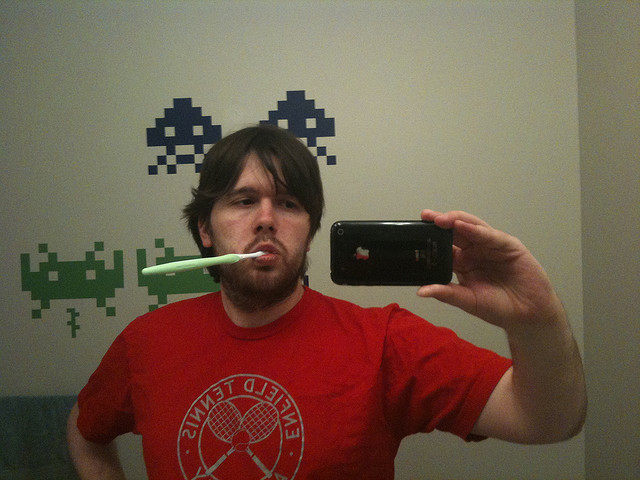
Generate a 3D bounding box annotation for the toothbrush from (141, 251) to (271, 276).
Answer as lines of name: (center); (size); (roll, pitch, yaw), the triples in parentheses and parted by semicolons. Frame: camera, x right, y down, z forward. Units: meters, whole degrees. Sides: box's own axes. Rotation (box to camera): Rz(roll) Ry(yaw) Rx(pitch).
toothbrush: (-0.383, 0.080, 2.387); (0.377, 0.045, 0.046); (-8, 31, -39)
